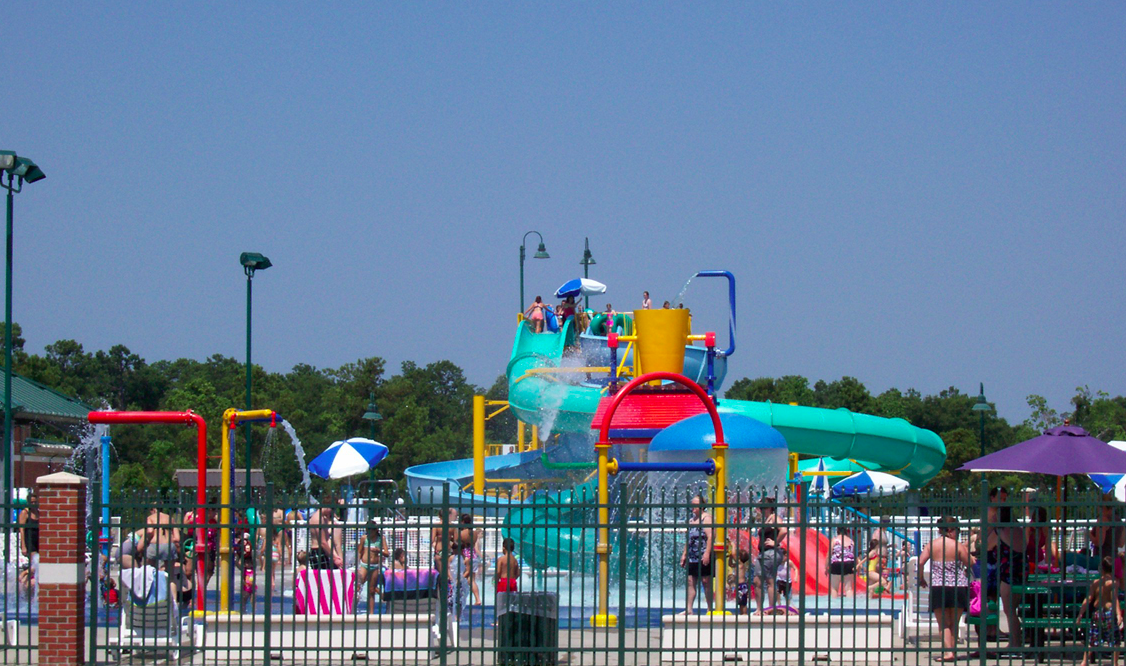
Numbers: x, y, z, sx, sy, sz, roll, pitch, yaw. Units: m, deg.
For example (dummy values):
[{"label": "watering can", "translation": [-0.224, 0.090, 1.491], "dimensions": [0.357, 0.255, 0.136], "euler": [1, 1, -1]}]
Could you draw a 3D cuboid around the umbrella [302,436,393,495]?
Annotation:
[{"label": "umbrella", "translation": [-7.772, 4.528, 96.116], "dimensions": [3.017, 1.110, 3.001], "euler": [6, 25, 38]}]
